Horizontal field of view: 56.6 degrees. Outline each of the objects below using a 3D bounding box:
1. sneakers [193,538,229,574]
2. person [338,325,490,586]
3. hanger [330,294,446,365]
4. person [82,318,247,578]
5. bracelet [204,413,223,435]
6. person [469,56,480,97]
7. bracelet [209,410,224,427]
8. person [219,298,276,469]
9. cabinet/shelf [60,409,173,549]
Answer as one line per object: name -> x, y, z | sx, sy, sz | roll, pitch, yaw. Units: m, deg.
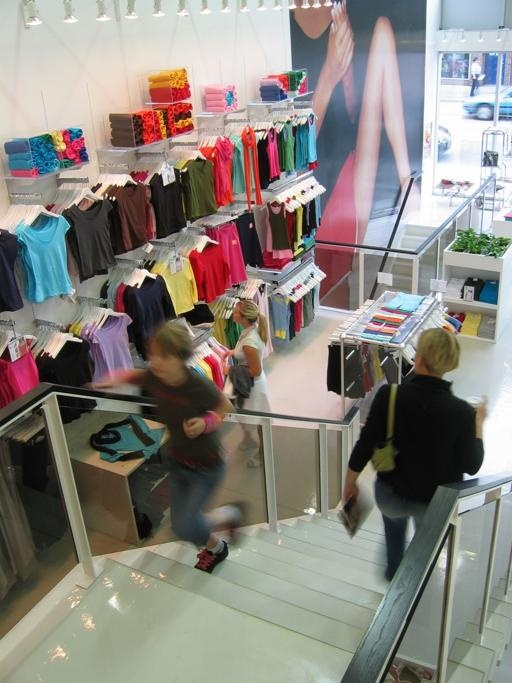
sneakers -> -0.229, 1.116, 2.444 | 0.067, 0.080, 0.205 | 9, 32, 26
person -> 0.737, 0.662, 2.301 | 0.660, 1.461, 0.414 | 4, 19, 14
hanger -> 1.513, -0.253, 5.153 | 0.760, 0.370, 1.037 | 2, 32, 26
person -> -0.332, 0.534, 2.402 | 0.518, 1.275, 0.539 | -5, 3, -17
bracelet -> -0.205, 0.387, 2.286 | 0.071, 0.095, 0.097 | 0, 47, 5
person -> 5.038, -6.063, 10.948 | 0.214, 0.723, 0.300 | -5, 3, -15
bracelet -> -0.193, 0.379, 2.295 | 0.057, 0.068, 0.075 | 0, 27, -2
person -> -0.143, 0.378, 4.607 | 0.556, 1.621, 0.484 | -1, 28, 0
cabinet/shelf -> -0.705, 0.652, 2.318 | 0.486, 0.705, 0.380 | 12, 35, 19
